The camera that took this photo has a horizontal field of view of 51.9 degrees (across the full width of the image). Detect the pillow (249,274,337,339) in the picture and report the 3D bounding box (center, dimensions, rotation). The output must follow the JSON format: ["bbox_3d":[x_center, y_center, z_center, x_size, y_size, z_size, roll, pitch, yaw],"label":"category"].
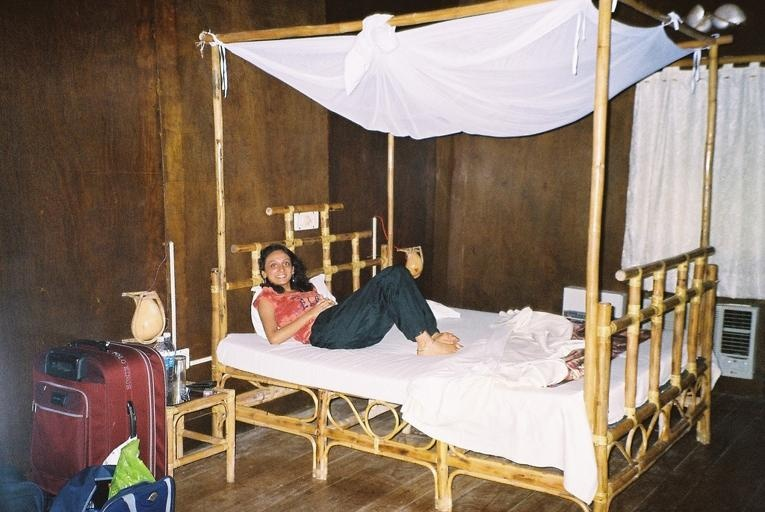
[{"bbox_3d":[-0.570,0.407,6.046,0.511,0.490,0.148,-11,-6,-26],"label":"pillow"}]

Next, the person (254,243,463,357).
[{"bbox_3d":[-0.197,0.283,5.742,1.482,0.794,0.684,-5,7,14],"label":"person"}]

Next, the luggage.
[{"bbox_3d":[-1.794,0.990,4.895,0.699,0.928,0.516,6,4,34],"label":"luggage"}]

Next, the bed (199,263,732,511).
[{"bbox_3d":[0.554,0.862,5.342,2.411,1.241,1.919,6,11,33],"label":"bed"}]
